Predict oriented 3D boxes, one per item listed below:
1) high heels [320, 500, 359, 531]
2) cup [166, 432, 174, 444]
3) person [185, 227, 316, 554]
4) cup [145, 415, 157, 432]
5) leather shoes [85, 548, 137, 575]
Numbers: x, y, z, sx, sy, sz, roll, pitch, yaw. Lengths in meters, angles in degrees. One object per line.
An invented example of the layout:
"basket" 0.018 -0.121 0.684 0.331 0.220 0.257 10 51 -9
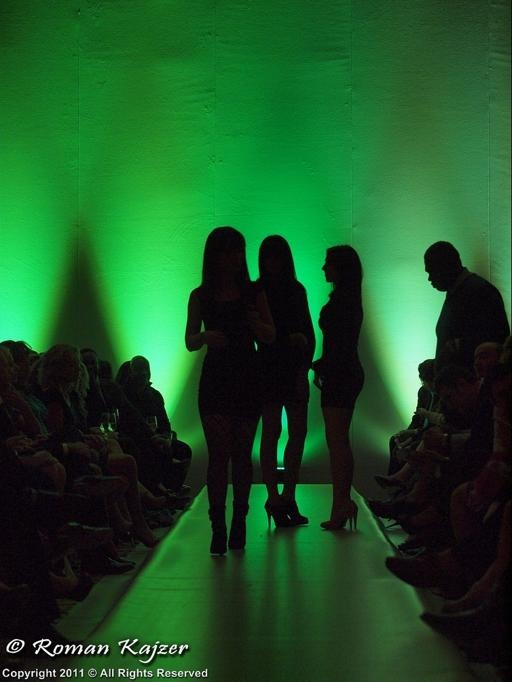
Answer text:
"high heels" 0.393 0.800 2.916 0.209 0.177 0.087 -2 1 -2
"cup" -0.497 0.547 3.596 0.032 0.042 0.045 1 -6 -2
"person" -0.115 0.169 2.510 0.344 1.251 0.340 -1 1 -40
"cup" -0.582 0.463 3.508 0.067 0.123 0.071 -2 -2 0
"leather shoes" -0.507 0.766 2.229 0.191 0.094 0.067 -2 6 -3
